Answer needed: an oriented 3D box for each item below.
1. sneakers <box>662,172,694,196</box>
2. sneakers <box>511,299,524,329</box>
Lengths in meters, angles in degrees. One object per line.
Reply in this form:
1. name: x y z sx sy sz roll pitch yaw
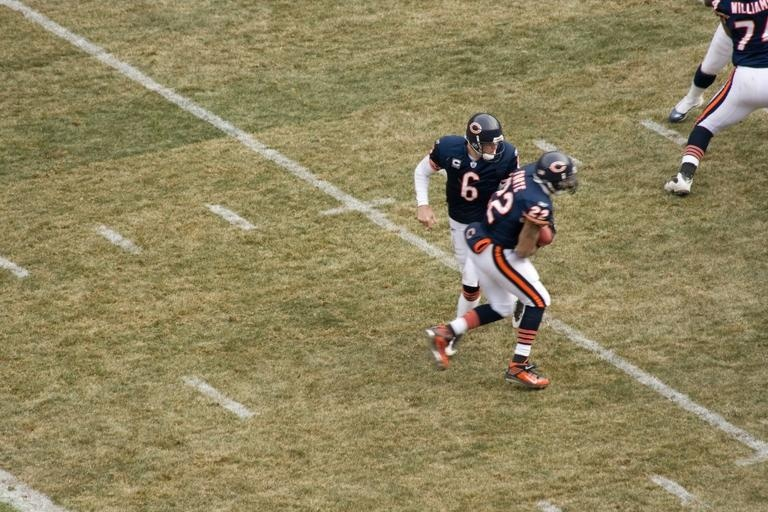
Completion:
1. sneakers: 3.497 -0.826 20.369 0.200 0.184 0.396 8 13 -5
2. sneakers: 1.485 0.687 19.143 0.120 0.314 0.140 16 23 17
